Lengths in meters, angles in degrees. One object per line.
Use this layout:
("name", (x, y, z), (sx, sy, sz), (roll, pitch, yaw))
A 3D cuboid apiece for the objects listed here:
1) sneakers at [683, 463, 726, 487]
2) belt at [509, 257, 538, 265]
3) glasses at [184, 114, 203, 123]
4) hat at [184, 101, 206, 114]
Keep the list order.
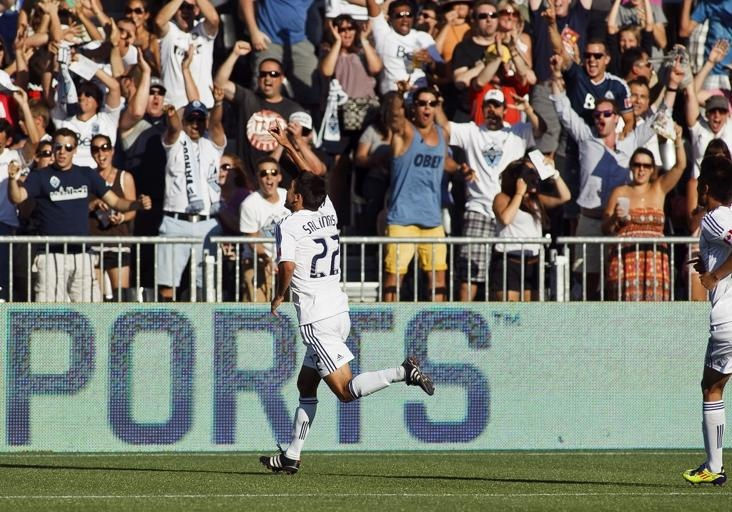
("sneakers", (3.740, 2.404, 22.438), (0.530, 0.320, 0.209), (5, -4, 5))
("belt", (1.937, 0.032, 24.887), (0.464, 0.106, 0.099), (-1, 0, 39))
("glasses", (-2.264, -1.774, 26.318), (0.150, 0.121, 0.254), (5, -8, -20))
("hat", (-2.251, -1.919, 26.331), (0.202, 0.175, 0.344), (2, -3, -12))
